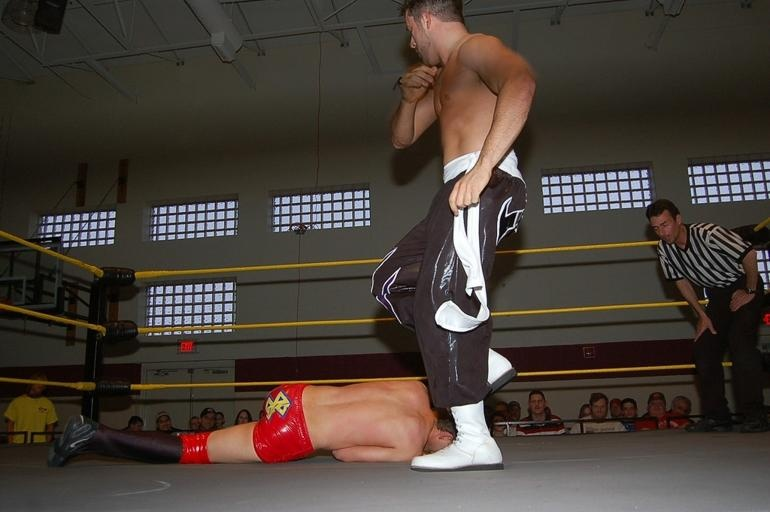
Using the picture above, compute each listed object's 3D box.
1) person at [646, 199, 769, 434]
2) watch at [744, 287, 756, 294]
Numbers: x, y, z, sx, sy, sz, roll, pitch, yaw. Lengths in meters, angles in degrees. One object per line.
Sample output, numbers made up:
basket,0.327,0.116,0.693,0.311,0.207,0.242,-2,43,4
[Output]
person,2.725,0.546,5.343,0.729,1.714,0.336,-8,-15,21
watch,2.953,0.281,5.279,0.057,0.029,0.042,5,-6,-9
